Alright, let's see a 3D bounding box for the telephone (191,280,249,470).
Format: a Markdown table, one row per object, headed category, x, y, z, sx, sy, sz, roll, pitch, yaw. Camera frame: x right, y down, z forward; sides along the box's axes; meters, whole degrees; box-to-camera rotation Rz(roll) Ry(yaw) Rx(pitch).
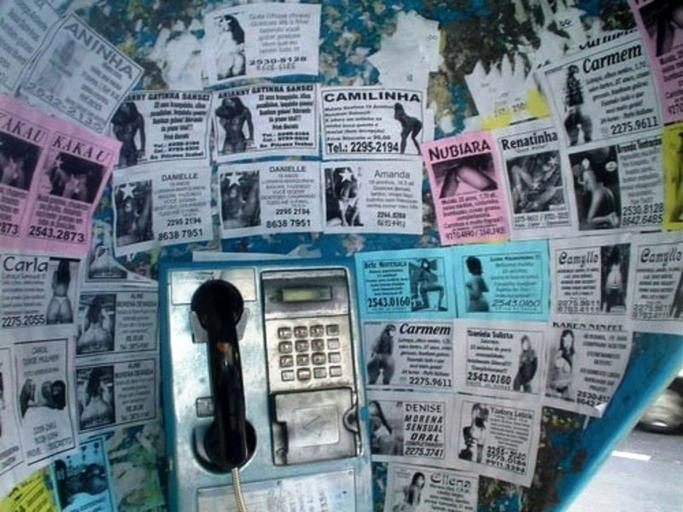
| category | x | y | z | sx | sy | sz | roll | pitch | yaw |
| --- | --- | --- | --- | --- | --- | --- | --- | --- | --- |
| telephone | -0.257 | 0.240 | 1.103 | 0.111 | 0.362 | 0.084 | 0 | -13 | -26 |
